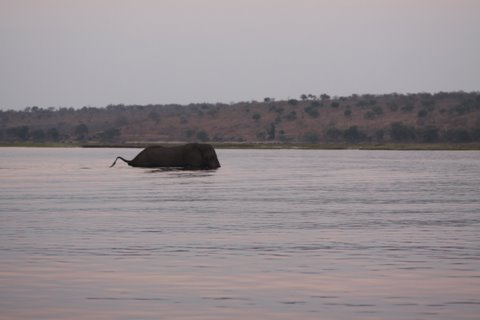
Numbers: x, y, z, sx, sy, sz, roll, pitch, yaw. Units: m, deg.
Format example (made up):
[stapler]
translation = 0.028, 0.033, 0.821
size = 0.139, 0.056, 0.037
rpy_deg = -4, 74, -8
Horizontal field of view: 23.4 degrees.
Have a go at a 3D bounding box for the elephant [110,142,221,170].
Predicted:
[elephant]
translation = -6.127, 0.097, 94.398
size = 9.574, 2.573, 2.133
rpy_deg = -3, 14, -17
